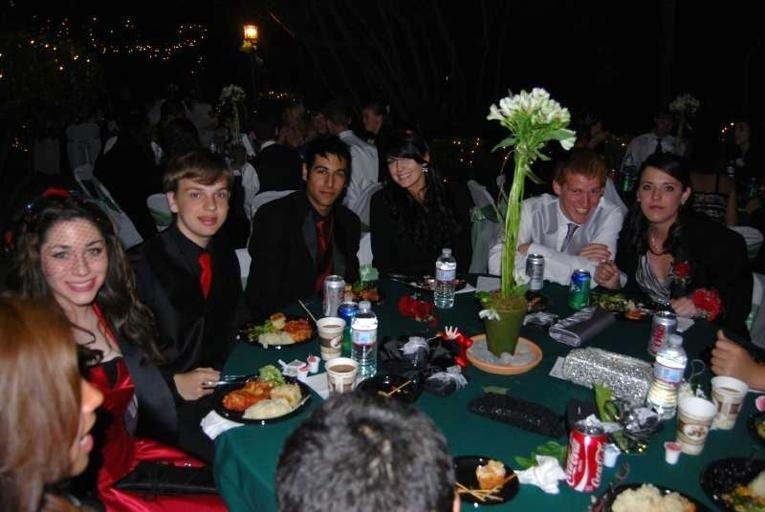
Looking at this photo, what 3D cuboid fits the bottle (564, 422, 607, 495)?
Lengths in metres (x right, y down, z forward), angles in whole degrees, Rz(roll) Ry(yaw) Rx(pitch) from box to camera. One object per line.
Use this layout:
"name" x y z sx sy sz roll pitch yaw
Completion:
"bottle" 0.944 0.931 2.432 0.165 0.302 0.142 5 11 20

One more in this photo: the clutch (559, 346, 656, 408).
"clutch" 1.249 0.656 2.899 0.374 0.109 0.279 16 28 30

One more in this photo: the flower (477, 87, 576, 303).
"flower" 0.838 -0.378 3.030 0.485 1.238 0.624 4 11 13

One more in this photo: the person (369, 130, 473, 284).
"person" 0.314 -0.495 4.854 0.860 1.290 0.463 0 11 -3

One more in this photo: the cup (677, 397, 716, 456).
"cup" 1.549 0.841 2.588 0.166 0.264 0.115 2 11 7

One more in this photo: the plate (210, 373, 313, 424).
"plate" -0.706 0.738 2.693 0.286 0.036 0.273 6 21 5

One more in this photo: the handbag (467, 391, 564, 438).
"handbag" 0.708 0.800 2.693 0.383 0.081 0.205 9 14 20

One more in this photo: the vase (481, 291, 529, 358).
"vase" 0.669 0.410 3.208 0.364 0.374 0.364 0 4 2

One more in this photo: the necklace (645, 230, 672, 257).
"necklace" 2.371 -0.100 4.528 0.216 0.157 0.083 -8 25 43

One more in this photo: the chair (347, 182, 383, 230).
"chair" -0.240 -0.590 6.460 0.249 0.608 0.467 16 -14 -32
